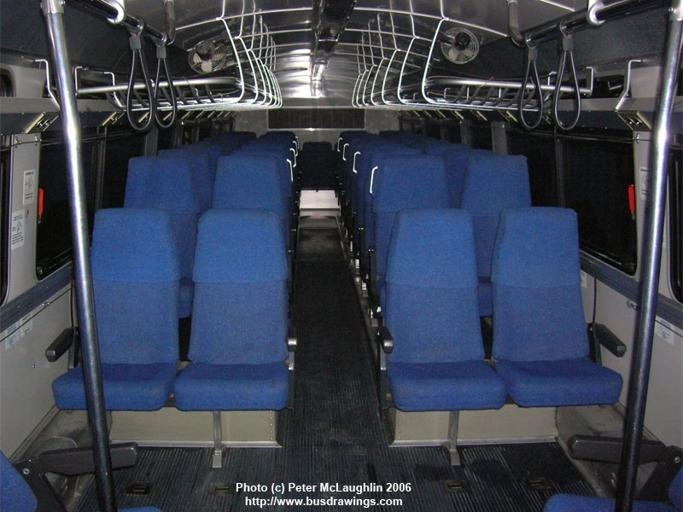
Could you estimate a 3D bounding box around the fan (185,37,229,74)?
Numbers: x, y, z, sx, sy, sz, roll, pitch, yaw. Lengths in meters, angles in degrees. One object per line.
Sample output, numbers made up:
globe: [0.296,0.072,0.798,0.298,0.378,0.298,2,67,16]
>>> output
fan: [-1.288,-1.881,5.176,0.402,0.335,0.319,-1,-33,-3]
